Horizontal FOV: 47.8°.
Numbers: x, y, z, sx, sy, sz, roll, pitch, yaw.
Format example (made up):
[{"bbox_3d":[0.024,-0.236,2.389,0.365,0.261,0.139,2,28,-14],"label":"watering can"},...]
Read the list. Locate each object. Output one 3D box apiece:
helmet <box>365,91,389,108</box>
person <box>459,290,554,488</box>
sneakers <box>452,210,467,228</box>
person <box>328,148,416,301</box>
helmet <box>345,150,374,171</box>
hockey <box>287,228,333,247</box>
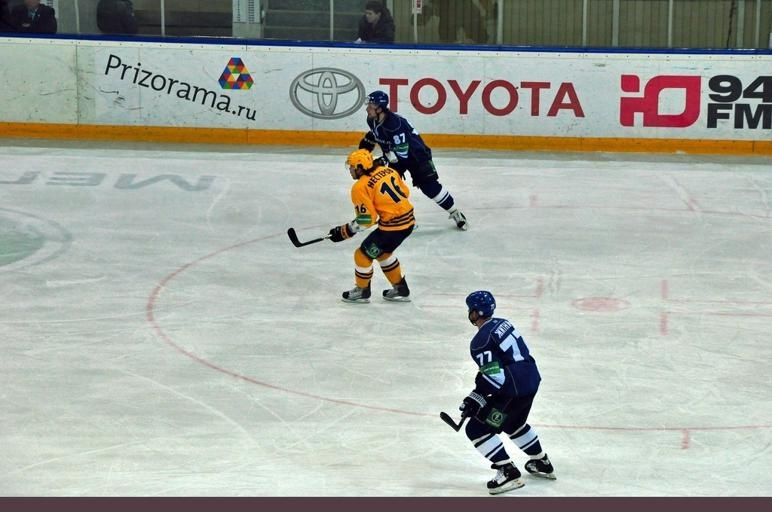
[{"bbox_3d":[-0.098,-2.008,11.179,0.233,0.218,0.279,1,8,3],"label":"helmet"},{"bbox_3d":[0.888,1.067,6.141,0.632,1.196,0.404,3,11,13],"label":"person"},{"bbox_3d":[0.957,-0.469,11.415,0.184,0.261,0.192,3,9,12],"label":"sneakers"},{"bbox_3d":[-0.138,-0.314,9.179,0.862,1.603,0.480,-1,11,-9],"label":"person"},{"bbox_3d":[-0.269,-1.008,9.114,0.279,0.223,0.325,1,7,-1],"label":"helmet"},{"bbox_3d":[-0.856,-0.178,9.568,0.450,0.077,0.351,-4,8,-21],"label":"hockey"}]
